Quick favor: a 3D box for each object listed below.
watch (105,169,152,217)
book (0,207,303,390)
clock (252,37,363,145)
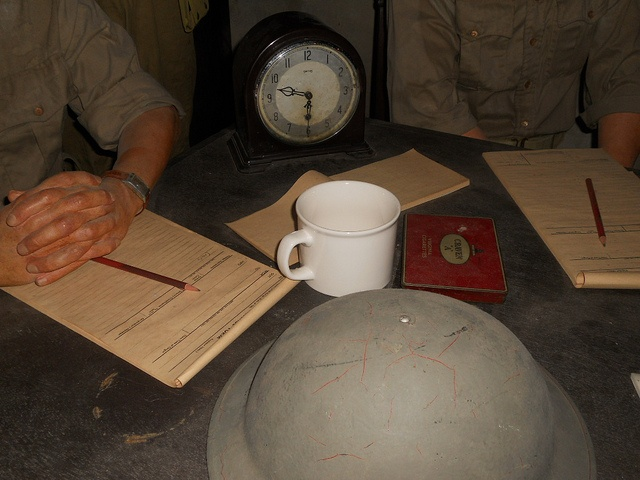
[{"bbox_3d":[-0.341,-0.080,0.903,0.055,0.059,0.048,-24,33,51],"label":"watch"},{"bbox_3d":[-0.211,0.089,0.726,0.304,0.024,0.203,24,42,24],"label":"book"},{"bbox_3d":[-0.034,-0.298,0.997,0.179,0.185,0.026,-17,31,-3],"label":"clock"}]
